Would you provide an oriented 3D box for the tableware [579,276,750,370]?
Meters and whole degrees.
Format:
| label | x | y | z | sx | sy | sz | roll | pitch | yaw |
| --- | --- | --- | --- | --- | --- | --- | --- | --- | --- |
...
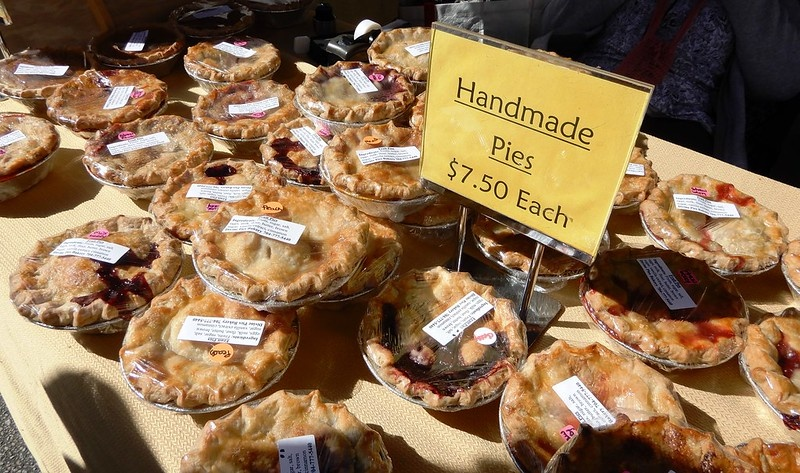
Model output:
| label | x | y | z | sx | sy | sz | roll | pitch | yaw |
| --- | --- | --- | --- | --- | --- | --- | --- | --- | --- |
| tableware | 1.256 | 0.361 | 2.379 | 0.722 | 0.683 | 0.196 | 9 | 51 | -14 |

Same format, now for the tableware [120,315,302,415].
| label | x | y | z | sx | sy | sz | roll | pitch | yaw |
| --- | --- | --- | --- | --- | --- | --- | --- | --- | --- |
| tableware | -0.854 | 0.646 | 2.323 | 0.845 | 0.203 | 0.341 | -11 | 60 | -13 |

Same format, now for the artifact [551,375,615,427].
| label | x | y | z | sx | sy | sz | roll | pitch | yaw |
| --- | --- | --- | --- | --- | --- | --- | --- | --- | --- |
| artifact | 0.790 | 0.688 | 2.144 | 0.136 | 0.150 | 0.243 | -27 | 65 | -20 |
